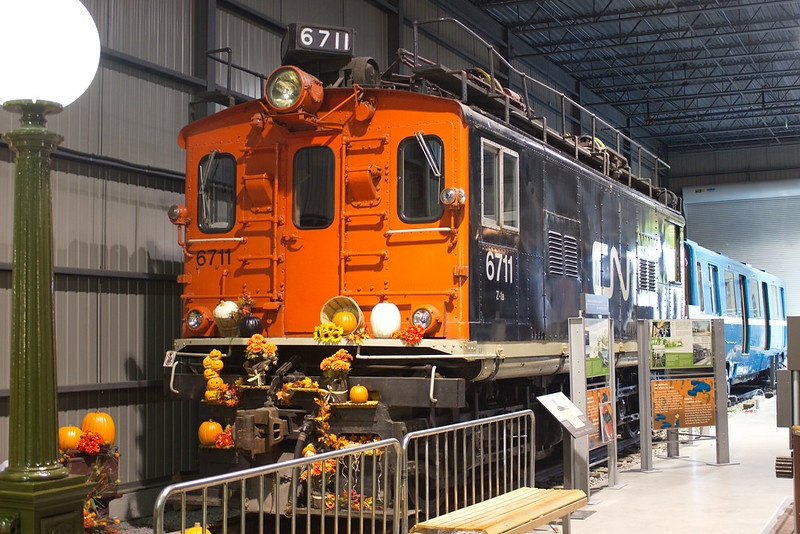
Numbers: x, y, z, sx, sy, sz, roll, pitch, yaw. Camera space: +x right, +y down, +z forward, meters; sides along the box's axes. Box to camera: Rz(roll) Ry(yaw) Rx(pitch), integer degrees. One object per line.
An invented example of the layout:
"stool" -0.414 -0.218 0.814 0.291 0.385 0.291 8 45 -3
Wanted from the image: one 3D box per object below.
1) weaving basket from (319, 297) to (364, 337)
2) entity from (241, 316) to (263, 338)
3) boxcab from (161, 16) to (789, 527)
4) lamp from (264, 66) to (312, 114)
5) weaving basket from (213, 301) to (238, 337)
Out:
"weaving basket" -0.738 0.566 9.830 0.631 0.427 0.575 5 -3 -43
"entity" -1.943 0.770 9.971 0.249 0.325 0.256 -2 -3 44
"boxcab" 2.335 0.185 15.466 4.326 6.344 14.461 -4 -4 31
"lamp" -1.435 -2.248 9.839 0.526 0.558 0.548 12 -9 26
"weaving basket" -2.290 0.681 10.101 0.340 0.493 0.178 -7 -9 24
